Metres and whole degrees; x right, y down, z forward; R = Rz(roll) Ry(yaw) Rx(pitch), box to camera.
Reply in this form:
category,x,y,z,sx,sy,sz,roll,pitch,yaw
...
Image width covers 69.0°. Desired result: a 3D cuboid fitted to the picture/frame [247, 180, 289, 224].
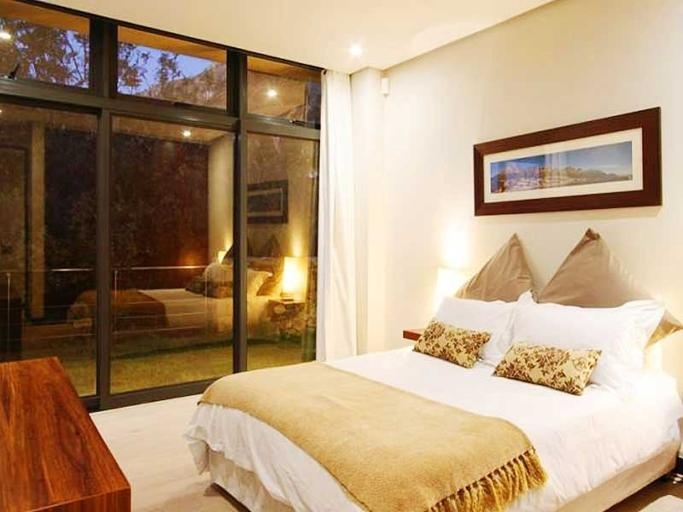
category,x,y,z,sx,sy,sz,roll,pitch,yaw
picture/frame,-0.732,-0.533,4.864,0.363,0.443,0.055,-4,7,-17
